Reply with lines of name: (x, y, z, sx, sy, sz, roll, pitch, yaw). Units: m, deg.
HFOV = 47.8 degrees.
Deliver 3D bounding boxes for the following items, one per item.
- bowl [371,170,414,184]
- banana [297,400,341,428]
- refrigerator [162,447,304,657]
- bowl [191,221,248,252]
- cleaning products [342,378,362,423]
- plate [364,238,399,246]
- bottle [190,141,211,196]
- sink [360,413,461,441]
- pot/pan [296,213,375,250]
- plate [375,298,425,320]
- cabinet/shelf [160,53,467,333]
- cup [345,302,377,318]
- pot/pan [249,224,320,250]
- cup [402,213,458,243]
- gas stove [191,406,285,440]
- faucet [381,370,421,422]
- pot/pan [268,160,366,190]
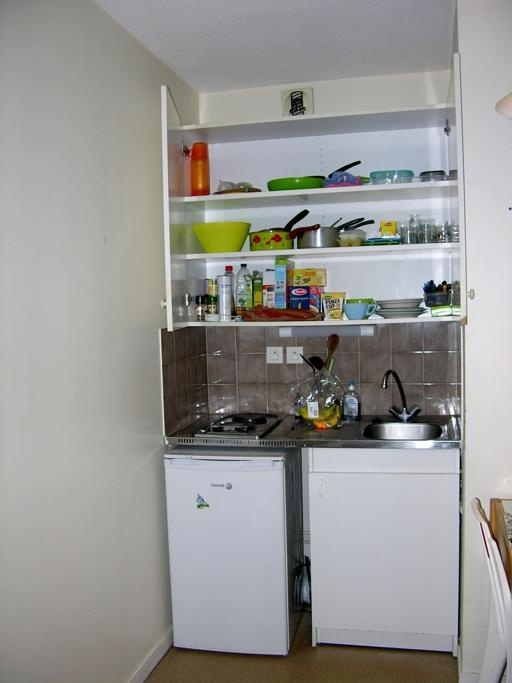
bowl: (0.564, -0.679, 2.395, 0.173, 0.064, 0.104, 1, 11, 10)
banana: (0.277, 0.300, 2.513, 0.142, 0.097, 0.113, 2, 11, 29)
refrigerator: (-0.035, 0.838, 2.599, 0.670, 1.054, 0.715, -1, -3, 11)
bowl: (-0.149, -0.455, 2.543, 0.164, 0.080, 0.170, -2, 5, 0)
cleaning products: (0.446, 0.275, 2.702, 0.079, 0.158, 0.151, 0, 11, 8)
plate: (0.539, -0.426, 2.456, 0.151, 0.030, 0.047, 1, 11, 10)
bottle: (-0.245, -0.739, 2.481, 0.081, 0.228, 0.116, -2, 11, -7)
sink: (0.670, 0.380, 2.537, 0.236, 0.091, 0.204, 0, -3, 4)
pot/pan: (0.344, -0.458, 2.518, 0.284, 0.110, 0.160, -1, 3, 10)
plate: (0.610, -0.141, 2.444, 0.196, 0.084, 0.098, 2, 11, 16)
cabinet/shelf: (0.284, -0.642, 2.512, 1.069, 0.840, 0.572, 0, 5, 13)
cup: (0.453, -0.130, 2.470, 0.149, 0.077, 0.105, -5, 12, -20)
pot/pan: (0.099, -0.422, 2.501, 0.226, 0.080, 0.140, 0, 6, 20)
cup: (0.710, -0.429, 2.391, 0.159, 0.090, 0.208, 4, 0, 36)
gas stove: (-0.051, 0.370, 2.585, 0.314, 0.081, 0.541, 2, 11, 14)
faucet: (0.660, 0.243, 2.605, 0.167, 0.250, 0.265, 2, 11, 16)
pot/pan: (0.263, -0.677, 2.489, 0.297, 0.097, 0.179, -1, 5, 15)
